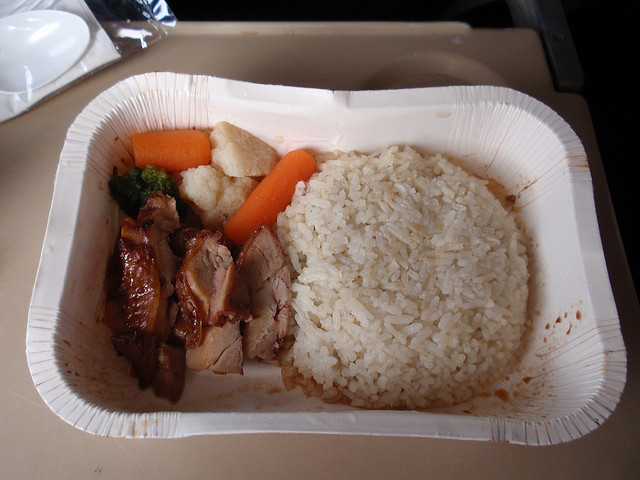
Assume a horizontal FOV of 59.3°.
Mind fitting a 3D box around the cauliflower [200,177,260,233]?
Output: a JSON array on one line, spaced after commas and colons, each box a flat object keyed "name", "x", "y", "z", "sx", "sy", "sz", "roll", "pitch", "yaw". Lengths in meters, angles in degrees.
[{"name": "cauliflower", "x": -0.418, "y": -0.181, "z": 2.591, "sx": 0.205, "sy": 0.065, "sz": 0.249, "roll": 19, "pitch": 89, "yaw": 8}]

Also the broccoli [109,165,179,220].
[{"name": "broccoli", "x": -0.800, "y": -0.205, "z": 2.509, "sx": 0.319, "sy": 0.167, "sz": 0.429, "roll": 8, "pitch": 29, "yaw": -11}]
